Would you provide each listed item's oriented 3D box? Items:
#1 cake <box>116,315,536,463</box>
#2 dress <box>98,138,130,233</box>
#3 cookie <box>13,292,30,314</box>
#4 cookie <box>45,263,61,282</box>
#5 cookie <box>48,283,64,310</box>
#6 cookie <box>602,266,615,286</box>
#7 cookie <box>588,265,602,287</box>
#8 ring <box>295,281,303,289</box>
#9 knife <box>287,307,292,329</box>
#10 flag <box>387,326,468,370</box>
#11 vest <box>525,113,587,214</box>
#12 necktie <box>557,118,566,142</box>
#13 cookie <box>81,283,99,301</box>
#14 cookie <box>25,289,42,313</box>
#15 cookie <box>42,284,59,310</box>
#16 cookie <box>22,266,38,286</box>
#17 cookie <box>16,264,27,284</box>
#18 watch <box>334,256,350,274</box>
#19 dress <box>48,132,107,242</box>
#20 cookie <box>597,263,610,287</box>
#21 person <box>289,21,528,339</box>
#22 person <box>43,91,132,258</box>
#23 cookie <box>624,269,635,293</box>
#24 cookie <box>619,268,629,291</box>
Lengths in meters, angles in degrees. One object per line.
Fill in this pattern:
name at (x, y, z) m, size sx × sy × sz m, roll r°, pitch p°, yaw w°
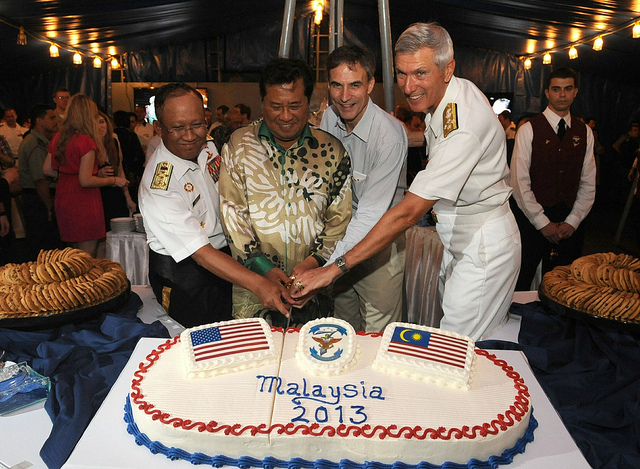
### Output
cake at (0.077, 0.656, 1.993) m, size 1.298 × 0.249 × 0.727 m, roll 2°, pitch 21°, yaw 1°
dress at (-1.999, -0.483, 4.871) m, size 0.316 × 1.362 × 0.359 m, roll -4°, pitch 49°, yaw -24°
cookie at (-1.544, 0.354, 2.568) m, size 0.068 × 0.096 × 0.022 m, roll -33°, pitch -7°, yaw 1°
cookie at (-1.457, 0.200, 2.705) m, size 0.022 × 0.089 × 0.084 m, roll -19°, pitch 2°, yaw -7°
cookie at (-1.389, 0.328, 2.596) m, size 0.016 × 0.117 × 0.080 m, roll -13°, pitch 25°, yaw -3°
cookie at (1.646, 0.239, 2.824) m, size 0.019 × 0.098 × 0.074 m, roll 8°, pitch -9°, yaw -30°
cookie at (1.595, 0.240, 2.872) m, size 0.070 × 0.104 × 0.013 m, roll 10°, pitch -27°, yaw -15°
ring at (-0.106, 0.262, 2.526) m, size 0.025 × 0.031 × 0.008 m, roll -1°, pitch -12°, yaw 7°
knife at (-0.167, 0.454, 2.717) m, size 0.013 × 0.133 × 0.014 m, roll 9°, pitch 19°, yaw -9°
flag at (0.478, 0.503, 2.200) m, size 0.230 × 0.088 × 0.178 m, roll 10°, pitch 29°, yaw 17°
vest at (2.094, -0.551, 4.277) m, size 0.397 × 0.925 × 0.408 m, roll 2°, pitch -9°, yaw 24°
necktie at (2.029, -0.865, 4.154) m, size 0.039 × 0.217 × 0.048 m, roll 3°, pitch -5°, yaw 25°
cookie at (-1.247, 0.317, 2.687) m, size 0.074 × 0.089 × 0.034 m, roll 4°, pitch 20°, yaw 13°
cookie at (-1.491, 0.355, 2.568) m, size 0.091 × 0.089 × 0.017 m, roll -40°, pitch -4°, yaw 1°
cookie at (-1.415, 0.326, 2.604) m, size 0.020 × 0.112 × 0.079 m, roll -26°, pitch -10°, yaw 2°
cookie at (-1.582, 0.225, 2.695) m, size 0.018 × 0.083 × 0.080 m, roll -23°, pitch 62°, yaw -13°
cookie at (-1.636, 0.208, 2.713) m, size 0.022 × 0.104 × 0.071 m, roll -30°, pitch -34°, yaw 27°
watch at (0.108, 0.155, 2.555) m, size 0.049 × 0.078 × 0.081 m, roll -28°, pitch 51°, yaw 8°
dress at (-2.078, -0.381, 4.183) m, size 0.400 × 0.875 × 0.237 m, roll 1°, pitch 19°, yaw 6°
cookie at (1.628, 0.218, 2.840) m, size 0.081 × 0.016 × 0.126 m, roll 13°, pitch 62°, yaw -1°
person at (0.643, -0.216, 2.623) m, size 1.101 × 1.642 × 0.351 m, roll -2°, pitch 19°, yaw -4°
person at (-2.113, -0.509, 4.393) m, size 0.544 × 1.364 × 0.790 m, roll -14°, pitch 23°, yaw -32°
cookie at (1.717, 0.259, 2.756) m, size 0.060 × 0.090 × 0.020 m, roll 5°, pitch -24°, yaw -36°
cookie at (1.693, 0.260, 2.774) m, size 0.018 × 0.083 × 0.076 m, roll -9°, pitch 33°, yaw 21°
